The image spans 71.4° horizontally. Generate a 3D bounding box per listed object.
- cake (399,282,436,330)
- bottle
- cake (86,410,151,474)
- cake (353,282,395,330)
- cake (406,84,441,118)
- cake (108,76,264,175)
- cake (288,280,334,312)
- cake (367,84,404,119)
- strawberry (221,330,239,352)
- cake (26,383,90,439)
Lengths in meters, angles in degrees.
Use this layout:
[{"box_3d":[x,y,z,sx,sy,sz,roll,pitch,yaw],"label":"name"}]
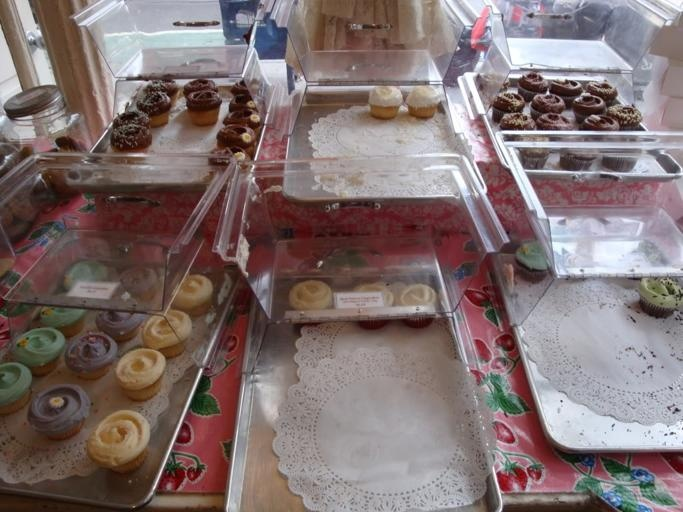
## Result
[{"box_3d":[0.264,0.161,1.641,0.128,0.101,0.143,-4,61,2],"label":"cake"},{"box_3d":[-1.355,-0.591,2.163,0.315,0.255,0.356,-16,48,-15],"label":"bottle"},{"box_3d":[-0.627,0.523,1.367,0.141,0.108,0.151,-3,50,-1],"label":"cake"},{"box_3d":[0.107,0.170,1.639,0.147,0.109,0.152,-3,49,4],"label":"cake"},{"box_3d":[0.368,-0.712,2.144,0.161,0.129,0.156,-17,42,-19],"label":"cake"},{"box_3d":[-0.685,-0.689,2.116,0.732,0.219,0.678,5,47,5],"label":"cake"},{"box_3d":[-0.101,0.135,1.595,0.147,0.063,0.086,-1,46,-1],"label":"cake"},{"box_3d":[0.195,-0.696,2.136,0.169,0.124,0.160,-24,44,-33],"label":"cake"},{"box_3d":[-0.378,0.298,1.632,0.048,0.019,0.064,11,47,11],"label":"strawberry"},{"box_3d":[-0.840,0.463,1.419,0.166,0.090,0.168,13,29,-9],"label":"cake"}]
